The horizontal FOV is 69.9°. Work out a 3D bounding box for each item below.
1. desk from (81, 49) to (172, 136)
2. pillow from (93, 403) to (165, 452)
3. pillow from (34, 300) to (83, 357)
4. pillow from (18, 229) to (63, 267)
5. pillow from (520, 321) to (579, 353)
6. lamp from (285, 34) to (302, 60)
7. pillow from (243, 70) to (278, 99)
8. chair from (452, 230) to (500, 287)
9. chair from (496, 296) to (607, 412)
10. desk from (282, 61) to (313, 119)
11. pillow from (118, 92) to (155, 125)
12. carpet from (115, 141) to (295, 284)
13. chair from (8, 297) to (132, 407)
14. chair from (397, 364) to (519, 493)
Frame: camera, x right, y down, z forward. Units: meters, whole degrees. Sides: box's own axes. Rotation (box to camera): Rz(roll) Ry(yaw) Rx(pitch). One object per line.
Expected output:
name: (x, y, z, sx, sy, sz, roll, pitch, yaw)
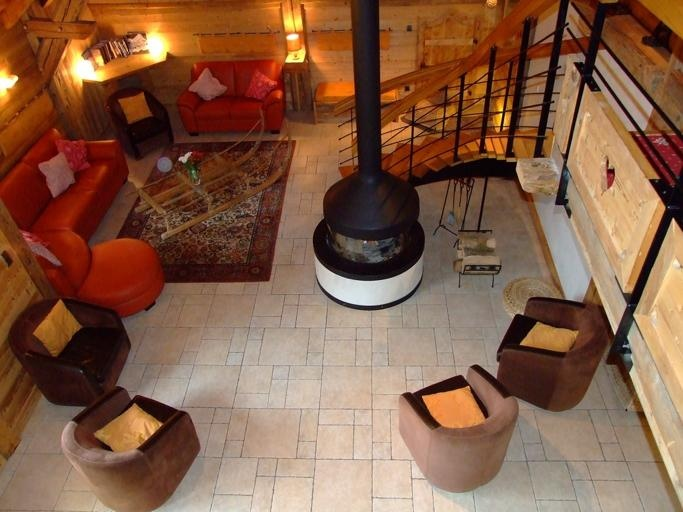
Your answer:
desk: (-4.252, -3.777, 9.692, 1.155, 1.018, 1.372, -22, 54, -6)
pillow: (-2.129, 1.736, 4.867, 0.450, 0.124, 0.416, 30, 43, 25)
pillow: (-3.276, 0.835, 5.623, 0.129, 0.540, 0.500, -4, 42, 21)
pillow: (-3.730, -0.108, 6.072, 0.353, 0.523, 0.218, 5, 63, 46)
pillow: (2.227, 0.885, 5.233, 0.341, 0.098, 0.358, 11, 36, 33)
lamp: (-0.932, -4.040, 9.403, 0.281, 0.352, 0.385, -6, 40, 0)
pillow: (-1.573, -3.302, 9.397, 0.560, 0.546, 0.165, 30, 8, 7)
chair: (1.840, -0.012, 6.721, 0.548, 0.504, 0.793, 1, 54, 7)
chair: (2.284, 1.053, 5.377, 1.034, 0.941, 0.938, 21, 46, 40)
desk: (-0.922, -3.422, 9.989, 0.620, 1.049, 0.637, -3, 41, 4)
pillow: (-3.917, -2.811, 9.265, 0.492, 0.397, 0.354, -23, 43, -19)
carpet: (-2.073, -0.460, 7.599, 2.144, 0.029, 2.687, -4, 43, 6)
chair: (-3.287, 1.104, 5.813, 1.279, 1.099, 1.126, 7, 55, 3)
chair: (1.184, 1.674, 4.994, 1.130, 0.918, 1.159, 24, 39, 36)
